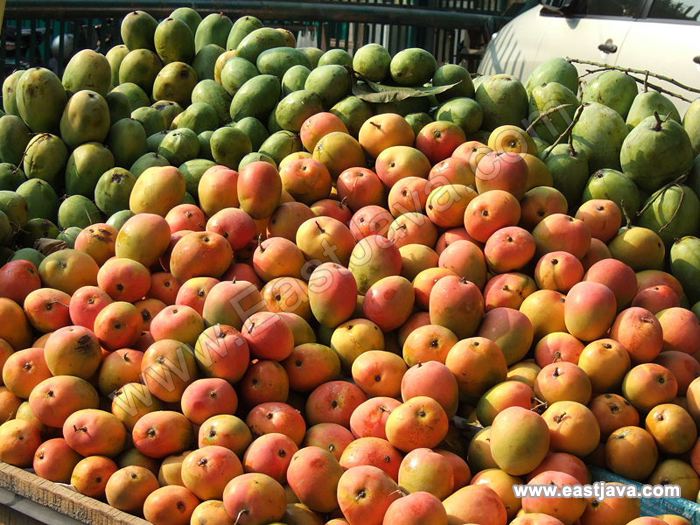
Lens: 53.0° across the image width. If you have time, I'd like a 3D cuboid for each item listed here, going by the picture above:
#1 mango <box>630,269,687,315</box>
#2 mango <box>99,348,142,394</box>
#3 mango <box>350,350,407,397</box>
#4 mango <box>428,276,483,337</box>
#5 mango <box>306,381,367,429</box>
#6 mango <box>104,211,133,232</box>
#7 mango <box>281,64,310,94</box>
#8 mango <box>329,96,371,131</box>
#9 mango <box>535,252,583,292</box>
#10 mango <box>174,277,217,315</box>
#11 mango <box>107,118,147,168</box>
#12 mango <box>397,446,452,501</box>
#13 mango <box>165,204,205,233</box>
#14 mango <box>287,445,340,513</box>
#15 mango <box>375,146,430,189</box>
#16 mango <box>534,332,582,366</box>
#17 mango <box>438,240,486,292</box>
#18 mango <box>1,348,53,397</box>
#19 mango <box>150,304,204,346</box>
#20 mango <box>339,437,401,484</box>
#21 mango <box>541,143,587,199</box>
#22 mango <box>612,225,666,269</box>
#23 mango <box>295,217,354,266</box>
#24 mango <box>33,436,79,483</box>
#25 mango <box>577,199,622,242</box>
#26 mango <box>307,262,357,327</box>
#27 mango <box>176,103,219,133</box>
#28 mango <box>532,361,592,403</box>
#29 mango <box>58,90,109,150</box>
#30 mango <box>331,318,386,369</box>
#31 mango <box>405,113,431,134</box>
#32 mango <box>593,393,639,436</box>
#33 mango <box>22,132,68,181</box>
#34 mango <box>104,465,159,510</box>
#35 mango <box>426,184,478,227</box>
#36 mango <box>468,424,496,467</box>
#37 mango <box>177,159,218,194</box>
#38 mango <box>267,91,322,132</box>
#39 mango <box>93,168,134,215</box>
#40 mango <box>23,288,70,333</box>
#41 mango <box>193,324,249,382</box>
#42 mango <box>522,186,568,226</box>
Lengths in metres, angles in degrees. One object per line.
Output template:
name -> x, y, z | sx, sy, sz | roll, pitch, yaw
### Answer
mango -> 2.031, 0.184, 4.624 | 0.240, 0.218, 0.345 | 3, 21, 27
mango -> -1.347, 0.645, 4.279 | 0.219, 0.335, 0.232 | 6, -4, 6
mango -> 0.156, 0.623, 4.241 | 0.291, 0.251, 0.297 | 34, -1, -14
mango -> 0.640, 0.252, 4.267 | 0.289, 0.451, 0.320 | 1, 5, 12
mango -> -0.089, 0.847, 4.091 | 0.230, 0.294, 0.261 | -12, 4, 14
mango -> -1.735, -0.329, 5.291 | 0.201, 0.137, 0.157 | -29, -4, -27
mango -> -0.497, -1.655, 6.376 | 0.198, 0.233, 0.253 | 26, 15, -39
mango -> 0.001, -1.272, 5.905 | 0.287, 0.258, 0.237 | -14, 33, -29
mango -> 1.331, 0.085, 4.542 | 0.245, 0.275, 0.251 | 17, -26, -32
mango -> -0.964, 0.202, 4.421 | 0.205, 0.217, 0.229 | 22, 52, -19
mango -> -1.913, -1.034, 6.046 | 0.250, 0.434, 0.312 | 0, 32, -11
mango -> 0.390, 1.082, 3.595 | 0.213, 0.314, 0.230 | 3, -2, -21
mango -> -1.159, -0.329, 4.921 | 0.189, 0.231, 0.217 | -26, 39, -14
mango -> -0.184, 1.147, 3.652 | 0.286, 0.318, 0.175 | -2, 23, -1
mango -> 0.392, -0.728, 5.211 | 0.345, 0.351, 0.304 | -7, 4, -32
mango -> 1.261, 0.517, 4.279 | 0.182, 0.245, 0.249 | -9, -9, -10
mango -> 0.754, -0.011, 4.571 | 0.258, 0.395, 0.282 | 0, 12, 31
mango -> -1.934, 0.652, 4.225 | 0.247, 0.276, 0.264 | 5, 37, -41
mango -> -1.021, 0.347, 4.198 | 0.218, 0.277, 0.240 | 10, 30, 41
mango -> 0.110, 1.043, 3.758 | 0.214, 0.251, 0.259 | -4, -30, 41
mango -> 1.626, -0.729, 5.496 | 0.316, 0.517, 0.401 | -3, 9, 13
mango -> 2.041, -0.102, 4.954 | 0.336, 0.324, 0.297 | 32, 20, 27
mango -> -0.184, -0.181, 4.842 | 0.297, 0.392, 0.312 | -34, 16, -7
mango -> -1.623, 1.072, 3.924 | 0.245, 0.223, 0.214 | 11, 30, -46
mango -> 1.757, -0.339, 5.028 | 0.249, 0.326, 0.284 | -11, 16, -4
mango -> -0.112, 0.194, 4.336 | 0.289, 0.470, 0.323 | 3, -1, -20
mango -> -1.425, -1.340, 6.576 | 0.321, 0.219, 0.254 | -14, -6, -38
mango -> 1.230, 0.709, 4.021 | 0.324, 0.200, 0.196 | 4, 25, 13
mango -> -2.241, -1.211, 5.972 | 0.317, 0.509, 0.389 | 19, 30, -19
mango -> 0.046, 0.469, 4.287 | 0.257, 0.311, 0.273 | -1, 4, -2
mango -> 0.566, -1.168, 5.804 | 0.176, 0.200, 0.166 | -27, -8, 40
mango -> 1.490, 0.846, 3.990 | 0.203, 0.244, 0.225 | -28, -13, 13
mango -> -2.621, -0.884, 5.990 | 0.398, 0.361, 0.226 | -7, 23, -10
mango -> -1.144, 1.170, 3.653 | 0.194, 0.238, 0.207 | 9, 21, -5
mango -> 0.686, -0.385, 4.815 | 0.288, 0.270, 0.242 | -12, -16, -11
mango -> 0.706, 1.004, 3.883 | 0.149, 0.231, 0.172 | 3, 2, -1
mango -> -1.242, -0.739, 5.707 | 0.265, 0.293, 0.312 | 5, 43, -25
mango -> -0.457, -1.276, 6.011 | 0.382, 0.358, 0.319 | -22, -19, 1
mango -> -1.874, -0.569, 5.567 | 0.242, 0.386, 0.297 | 7, 41, -16
mango -> -1.898, 0.311, 4.479 | 0.194, 0.311, 0.259 | 5, 61, -2
mango -> -0.720, 0.486, 4.029 | 0.238, 0.379, 0.298 | 1, 5, 3
mango -> 1.355, -0.406, 4.948 | 0.239, 0.308, 0.303 | -4, 4, 37
